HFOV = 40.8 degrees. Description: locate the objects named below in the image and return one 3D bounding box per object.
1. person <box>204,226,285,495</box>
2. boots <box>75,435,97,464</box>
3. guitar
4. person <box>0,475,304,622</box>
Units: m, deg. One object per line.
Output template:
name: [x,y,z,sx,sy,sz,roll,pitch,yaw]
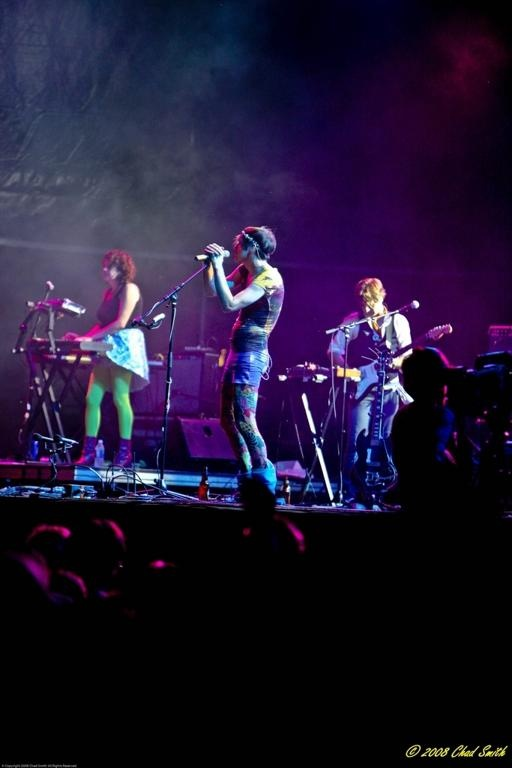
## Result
person: [-0.077,-0.176,4.049,0.462,1.628,0.856,0,2,1]
boots: [-1.287,0.518,5.224,0.137,0.200,0.488,0,1,-14]
guitar: [1.000,-0.148,5.137,0.693,0.310,0.090,-24,-22,39]
person: [-0.415,0.707,2.905,1.202,0.490,0.409,0,1,-2]
